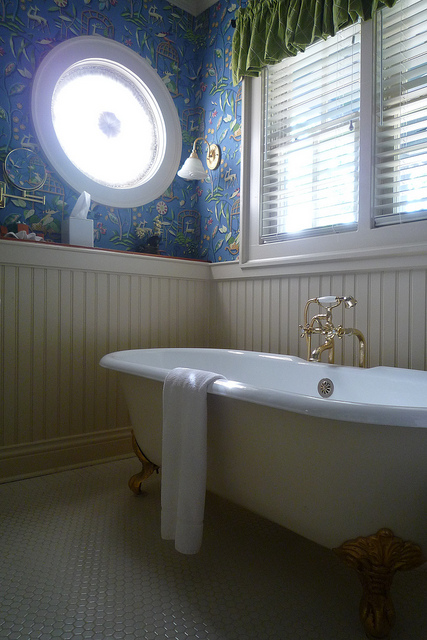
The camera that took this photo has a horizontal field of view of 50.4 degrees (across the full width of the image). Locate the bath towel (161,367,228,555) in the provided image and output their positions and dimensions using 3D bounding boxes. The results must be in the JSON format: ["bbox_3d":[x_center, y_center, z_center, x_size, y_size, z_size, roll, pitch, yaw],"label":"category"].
[{"bbox_3d":[0.002,0.346,1.250,0.180,0.485,0.302,0,0,-5],"label":"bath towel"}]

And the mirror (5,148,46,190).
[{"bbox_3d":[-0.875,-0.701,2.109,0.181,0.204,0.009,0,0,-44],"label":"mirror"}]
